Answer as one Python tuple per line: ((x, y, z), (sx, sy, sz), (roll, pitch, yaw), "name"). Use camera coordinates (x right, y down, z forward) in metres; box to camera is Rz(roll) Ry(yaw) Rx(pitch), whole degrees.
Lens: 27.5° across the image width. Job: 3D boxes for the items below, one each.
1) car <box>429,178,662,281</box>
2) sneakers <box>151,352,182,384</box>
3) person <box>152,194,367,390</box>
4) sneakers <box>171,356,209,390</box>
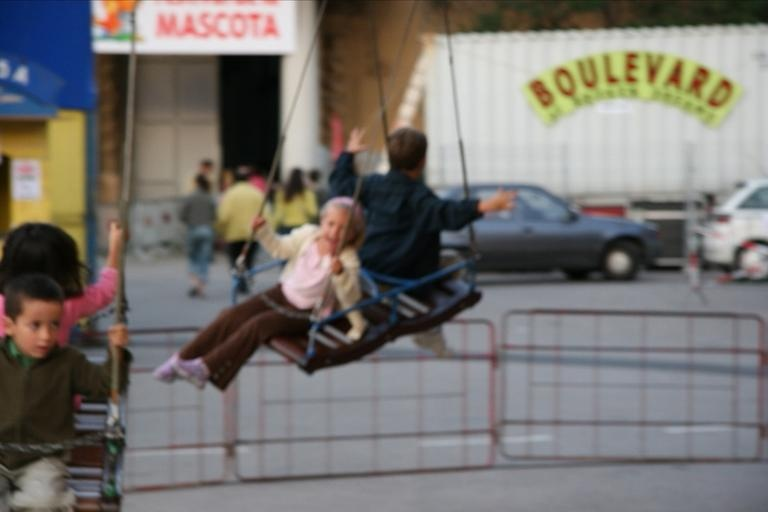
((1.466, -0.232, 14.341), (2.038, 0.593, 0.871), (-2, 4, 1), "car")
((-1.421, 0.749, 10.414), (0.246, 0.146, 0.136), (-1, 4, 18), "sneakers")
((-0.746, 0.239, 10.512), (1.281, 1.290, 0.516), (2, 3, -1), "person")
((-1.261, 0.764, 10.475), (0.256, 0.159, 0.154), (36, 0, -2), "sneakers")
